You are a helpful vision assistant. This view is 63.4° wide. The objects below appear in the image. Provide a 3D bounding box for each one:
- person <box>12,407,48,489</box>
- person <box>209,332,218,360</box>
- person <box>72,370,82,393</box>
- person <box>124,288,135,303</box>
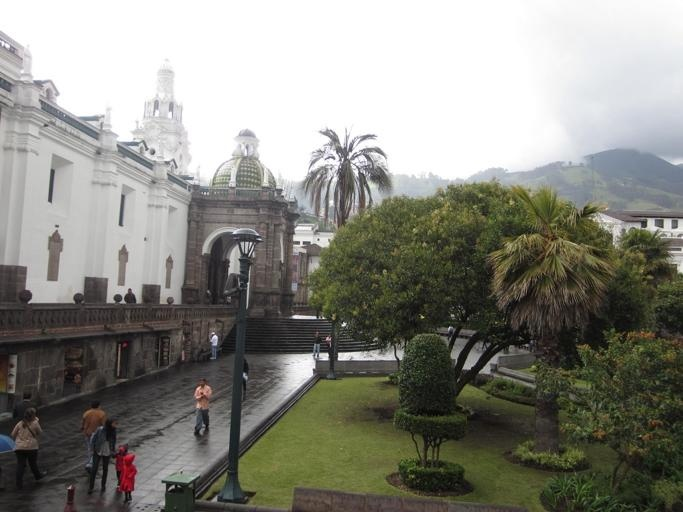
[{"bbox_3d":[-8.368,5.019,14.743,0.731,2.041,0.817,1,-3,-30],"label":"person"},{"bbox_3d":[-8.210,5.719,35.388,0.473,1.488,2.330,0,-3,-13],"label":"person"},{"bbox_3d":[-11.267,5.287,23.487,0.276,0.848,0.902,2,-3,-36],"label":"person"},{"bbox_3d":[-12.520,2.345,32.484,0.615,1.184,0.795,-3,-1,1],"label":"person"}]
